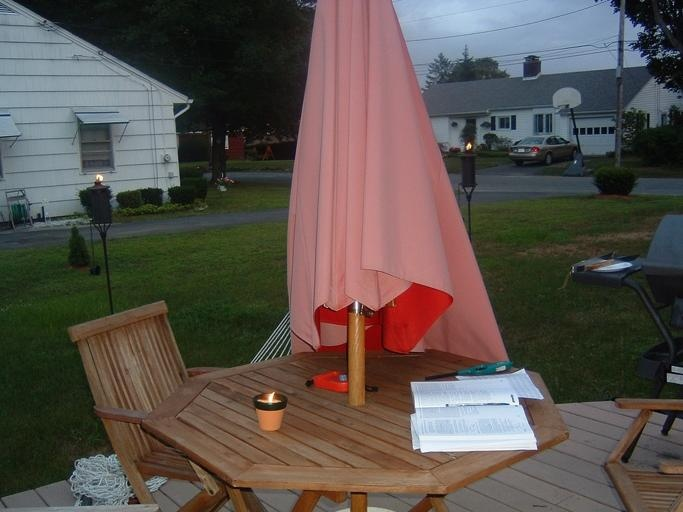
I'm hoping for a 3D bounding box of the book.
[{"bbox_3d":[0.541,0.651,2.199,0.499,0.066,0.564,-2,12,14],"label":"book"}]

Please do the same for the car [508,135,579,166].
[{"bbox_3d":[10.856,-5.798,27.876,3.462,1.507,1.201,-11,15,-27],"label":"car"}]

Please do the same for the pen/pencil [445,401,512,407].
[{"bbox_3d":[0.590,0.634,2.199,0.160,0.014,0.016,-3,7,-4],"label":"pen/pencil"}]

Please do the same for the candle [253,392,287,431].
[{"bbox_3d":[-0.296,0.641,2.141,0.146,0.121,0.136,3,0,29],"label":"candle"}]
